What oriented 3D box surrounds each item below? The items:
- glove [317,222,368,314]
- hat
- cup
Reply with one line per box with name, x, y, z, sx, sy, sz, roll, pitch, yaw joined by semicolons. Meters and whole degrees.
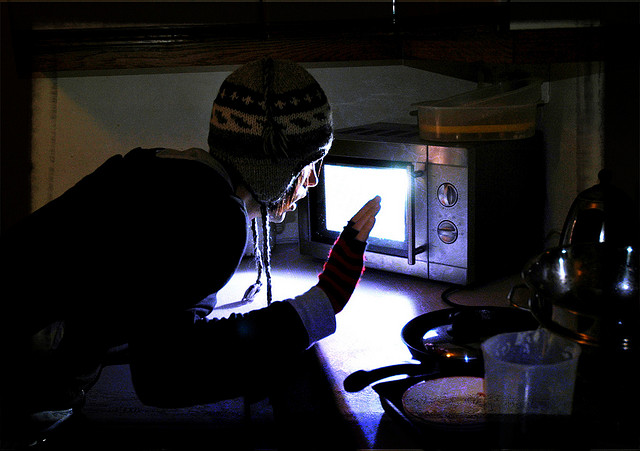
glove;0.046;0.080;1.191;0.064;0.190;0.051;13;-29;21
hat;-0.086;-0.182;1.056;0.245;0.235;0.237;-3;14;-8
cup;0.382;0.253;1.085;0.179;0.114;0.144;0;0;24
